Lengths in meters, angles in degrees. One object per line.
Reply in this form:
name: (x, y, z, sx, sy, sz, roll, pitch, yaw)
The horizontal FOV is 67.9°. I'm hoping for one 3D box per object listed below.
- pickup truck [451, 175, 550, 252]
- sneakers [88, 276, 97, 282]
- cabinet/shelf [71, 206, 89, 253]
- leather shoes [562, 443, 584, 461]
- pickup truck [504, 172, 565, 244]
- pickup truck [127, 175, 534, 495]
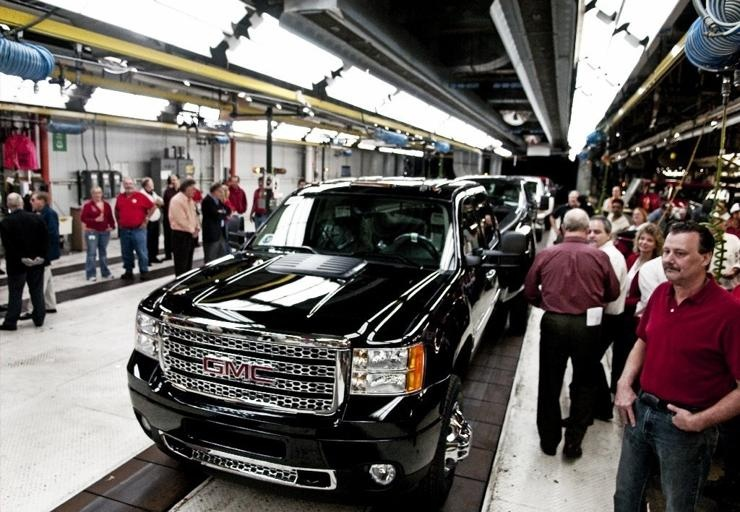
pickup truck: (2.797, -0.995, 11.783, 1.700, 1.390, 2.929, 1, 3, 21)
sneakers: (-5.589, 0.452, 11.116, 0.089, 0.052, 0.145, 1, 5, 2)
cabinet/shelf: (-7.508, -0.744, 14.570, 0.653, 1.064, 0.595, 10, 12, 42)
leather shoes: (2.064, 1.959, 5.601, 0.211, 0.129, 0.124, -9, 10, -31)
pickup truck: (4.831, -1.350, 15.915, 1.796, 1.430, 3.362, 1, 6, 18)
pickup truck: (0.143, 0.265, 7.133, 3.342, 2.482, 6.380, 6, 14, 23)
